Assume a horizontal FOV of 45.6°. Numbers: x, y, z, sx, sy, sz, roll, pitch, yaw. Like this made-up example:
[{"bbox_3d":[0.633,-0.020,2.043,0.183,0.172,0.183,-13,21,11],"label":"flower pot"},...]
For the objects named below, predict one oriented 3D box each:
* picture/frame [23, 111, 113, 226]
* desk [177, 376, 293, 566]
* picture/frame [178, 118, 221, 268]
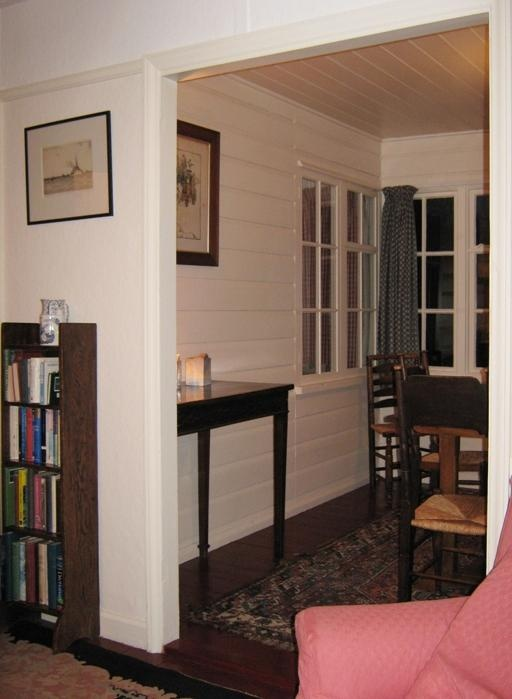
[{"bbox_3d":[-0.715,-0.705,2.361,0.476,0.463,0.017,2,5,31],"label":"picture/frame"},{"bbox_3d":[-0.128,0.659,3.226,0.567,0.734,0.980,0,1,27],"label":"desk"},{"bbox_3d":[-0.297,-0.797,3.156,0.088,0.736,0.360,-2,-1,26],"label":"picture/frame"}]
